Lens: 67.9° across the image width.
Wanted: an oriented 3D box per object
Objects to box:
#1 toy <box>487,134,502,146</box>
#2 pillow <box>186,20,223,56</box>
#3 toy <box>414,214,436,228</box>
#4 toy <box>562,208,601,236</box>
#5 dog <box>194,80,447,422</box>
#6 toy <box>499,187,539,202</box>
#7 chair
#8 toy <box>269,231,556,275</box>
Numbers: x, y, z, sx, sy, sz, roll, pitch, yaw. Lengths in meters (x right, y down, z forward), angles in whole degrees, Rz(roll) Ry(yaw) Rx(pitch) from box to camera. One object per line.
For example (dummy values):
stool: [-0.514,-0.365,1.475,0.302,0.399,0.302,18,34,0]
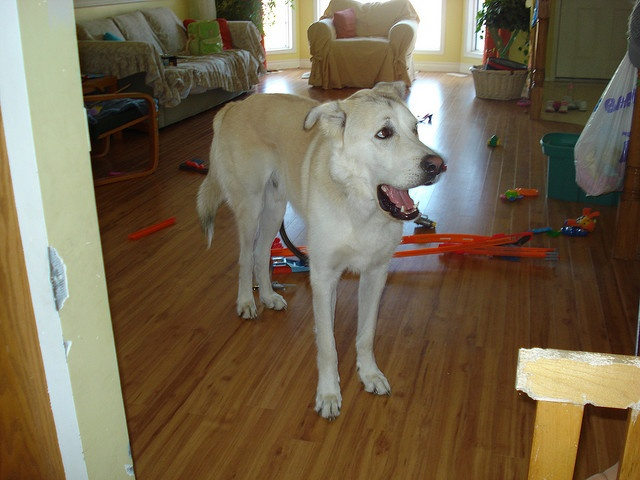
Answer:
toy: [1.957,-1.140,5.376,0.089,0.065,0.169,4,24,14]
pillow: [-1.735,-3.064,7.277,0.490,0.594,0.523,-1,23,-1]
toy: [0.777,-0.138,3.525,0.108,0.046,0.105,8,15,10]
toy: [1.931,-0.130,3.516,0.283,0.192,0.109,-11,15,0]
dog: [-0.139,-0.131,2.481,0.559,1.469,1.690,-14,30,-35]
toy: [1.718,-0.392,4.055,0.266,0.053,0.149,-6,26,-7]
chair: [-2.040,-1.186,4.836,0.695,0.809,1.362,-16,30,-21]
toy: [0.583,0.088,2.761,1.347,0.173,0.161,2,39,3]
